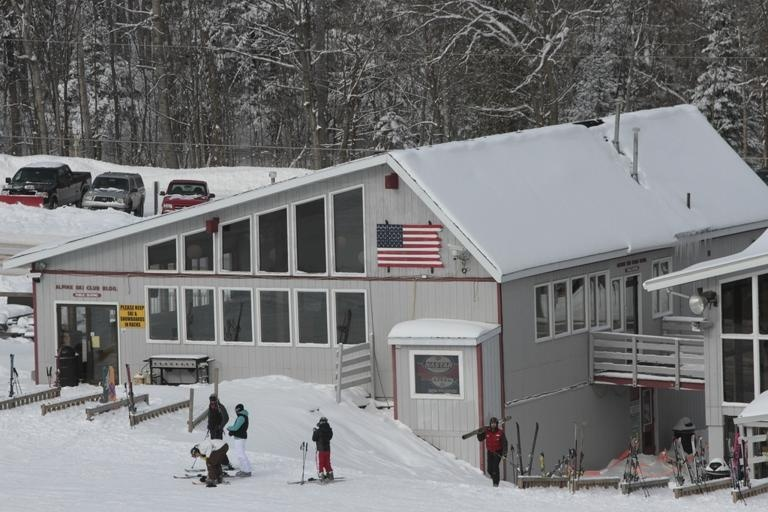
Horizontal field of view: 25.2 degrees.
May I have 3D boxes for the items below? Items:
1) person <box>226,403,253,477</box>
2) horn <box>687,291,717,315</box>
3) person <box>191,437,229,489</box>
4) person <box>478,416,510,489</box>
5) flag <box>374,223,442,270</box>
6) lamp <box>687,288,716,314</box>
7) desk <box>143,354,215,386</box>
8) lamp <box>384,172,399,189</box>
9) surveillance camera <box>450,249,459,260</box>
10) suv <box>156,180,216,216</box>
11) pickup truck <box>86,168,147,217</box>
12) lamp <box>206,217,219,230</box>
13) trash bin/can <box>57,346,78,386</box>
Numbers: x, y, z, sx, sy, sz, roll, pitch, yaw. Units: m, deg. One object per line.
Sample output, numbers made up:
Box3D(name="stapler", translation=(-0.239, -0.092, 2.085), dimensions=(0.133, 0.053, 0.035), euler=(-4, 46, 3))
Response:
Box3D(name="person", translation=(-5.241, 6.574, 62.011), dimensions=(0.855, 2.633, 0.906), euler=(-3, -3, -1))
Box3D(name="horn", translation=(11.910, 1.784, 64.843), dimensions=(0.734, 0.666, 1.048), euler=(11, 16, 43))
Box3D(name="person", translation=(-6.212, 7.335, 61.530), dimensions=(1.205, 1.748, 1.132), euler=(1, 0, -29))
Box3D(name="person", translation=(4.030, 7.219, 63.695), dimensions=(0.996, 2.672, 1.354), euler=(0, 9, 3))
Box3D(name="flag", translation=(1.031, -0.426, 68.446), dimensions=(2.635, 1.657, 0.398), euler=(1, 9, 11))
Box3D(name="lamp", translation=(11.932, 1.673, 64.796), dimensions=(0.758, 0.636, 1.054), euler=(15, 20, 39))
Box3D(name="desk", translation=(-8.286, 4.580, 69.847), dimensions=(2.477, 1.150, 0.646), euler=(0, 9, 2))
Box3D(name="lamp", translation=(0.308, -3.040, 68.481), dimensions=(0.539, 0.775, 0.558), euler=(2, -2, -17))
Box3D(name="surveillance camera", translation=(2.817, -0.125, 67.837), dimensions=(0.348, 0.352, 0.492), euler=(1, -1, 4))
Box3D(name="suv", translation=(-9.994, -3.141, 86.569), dimensions=(1.796, 1.581, 3.170), euler=(-1, -1, -1))
Box3D(name="pickup truck", translation=(-13.591, -3.038, 88.282), dimensions=(2.284, 1.991, 4.443), euler=(-2, 6, 10))
Box3D(name="lamp", translation=(-6.913, -1.304, 69.817), dimensions=(0.555, 0.579, 0.207), euler=(-7, 11, -32))
Box3D(name="trash bin/can", translation=(-12.762, 4.404, 69.424), dimensions=(0.787, 1.660, 0.953), euler=(-3, 10, -15))
